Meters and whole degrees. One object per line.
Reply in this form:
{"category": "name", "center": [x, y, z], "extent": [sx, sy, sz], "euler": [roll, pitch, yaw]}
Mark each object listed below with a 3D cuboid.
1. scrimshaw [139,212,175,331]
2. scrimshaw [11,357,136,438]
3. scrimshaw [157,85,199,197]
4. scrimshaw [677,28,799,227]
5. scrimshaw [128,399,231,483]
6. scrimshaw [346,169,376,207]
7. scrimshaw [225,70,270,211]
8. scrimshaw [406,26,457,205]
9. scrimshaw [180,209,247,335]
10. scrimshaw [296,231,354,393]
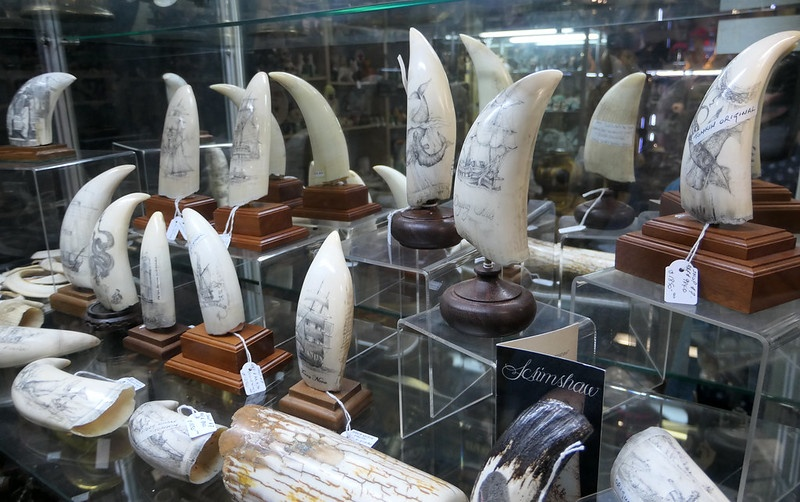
{"category": "scrimshaw", "center": [-0.862, 0.084, 2.015], "extent": [0.125, 0.415, 0.104], "euler": [-12, 22, -26]}
{"category": "scrimshaw", "center": [-1.055, 0.477, 1.852], "extent": [0.388, 0.181, 0.192], "euler": [8, 23, 25]}
{"category": "scrimshaw", "center": [-0.906, -0.430, 2.313], "extent": [0.202, 0.439, 0.145], "euler": [-8, 21, -15]}
{"category": "scrimshaw", "center": [0.979, -0.339, 1.629], "extent": [0.309, 0.516, 0.182], "euler": [-6, 20, -9]}
{"category": "scrimshaw", "center": [-0.669, 0.542, 1.704], "extent": [0.259, 0.113, 0.209], "euler": [26, 36, 23]}
{"category": "scrimshaw", "center": [-0.181, -0.309, 2.499], "extent": [0.090, 0.141, 0.274], "euler": [-4, 21, -4]}
{"category": "scrimshaw", "center": [-0.571, -0.395, 2.207], "extent": [0.129, 0.543, 0.140], "euler": [4, 6, 3]}
{"category": "scrimshaw", "center": [0.091, -0.426, 1.897], "extent": [0.170, 0.573, 0.153], "euler": [6, 22, 23]}
{"category": "scrimshaw", "center": [-0.632, 0.061, 1.951], "extent": [0.130, 0.395, 0.251], "euler": [-11, 22, -23]}
{"category": "scrimshaw", "center": [-0.226, 0.200, 1.746], "extent": [0.178, 0.476, 0.153], "euler": [-14, 23, -29]}
